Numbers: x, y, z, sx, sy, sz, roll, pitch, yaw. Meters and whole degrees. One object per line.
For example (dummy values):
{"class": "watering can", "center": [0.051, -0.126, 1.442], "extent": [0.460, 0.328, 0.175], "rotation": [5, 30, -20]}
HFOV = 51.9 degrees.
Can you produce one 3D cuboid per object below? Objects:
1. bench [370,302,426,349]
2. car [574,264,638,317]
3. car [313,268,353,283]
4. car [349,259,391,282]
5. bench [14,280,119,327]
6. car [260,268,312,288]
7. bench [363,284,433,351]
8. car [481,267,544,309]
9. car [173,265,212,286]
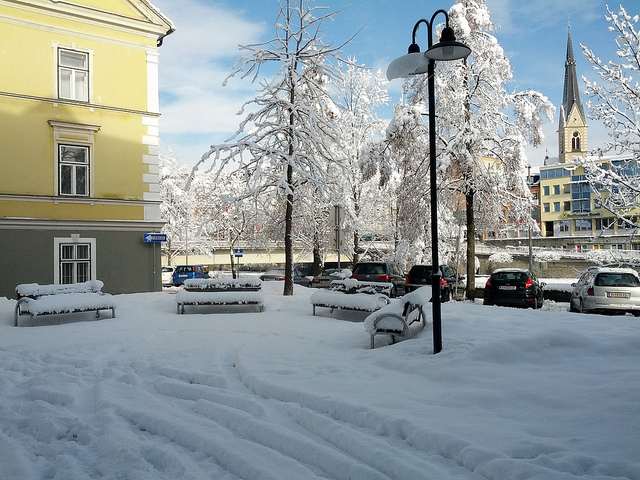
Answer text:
{"class": "bench", "center": [1.792, 1.945, 15.918], "extent": [0.966, 1.340, 1.797], "rotation": [2, 4, 8]}
{"class": "car", "center": [9.326, 1.620, 21.587], "extent": [1.194, 1.257, 2.387], "rotation": [-1, 0, 12]}
{"class": "car", "center": [0.820, 1.770, 34.350], "extent": [1.895, 0.732, 0.894], "rotation": [0, -1, 43]}
{"class": "car", "center": [2.084, 1.294, 26.520], "extent": [1.561, 0.719, 1.374], "rotation": [-1, 13, 6]}
{"class": "bench", "center": [-7.489, 1.813, 19.050], "extent": [2.620, 1.042, 2.003], "rotation": [-9, 15, -28]}
{"class": "car", "center": [-2.318, 2.452, 43.274], "extent": [1.576, 1.311, 3.560], "rotation": [1, 1, -30]}
{"class": "bench", "center": [1.912, 1.773, 15.418], "extent": [1.718, 1.264, 0.890], "rotation": [-14, 17, -42]}
{"class": "car", "center": [6.862, 1.900, 23.359], "extent": [1.477, 1.317, 2.781], "rotation": [-1, -1, 22]}
{"class": "car", "center": [-7.222, 1.962, 36.708], "extent": [1.276, 1.159, 2.165], "rotation": [-1, 2, 18]}
